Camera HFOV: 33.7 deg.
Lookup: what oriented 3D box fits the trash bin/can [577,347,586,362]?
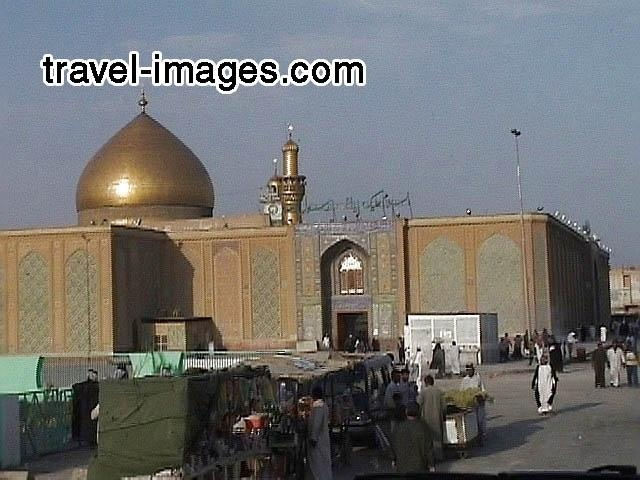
[{"bbox_3d":[7.469,3.312,30.152,0.271,0.404,0.321,1,-5,-2],"label":"trash bin/can"}]
